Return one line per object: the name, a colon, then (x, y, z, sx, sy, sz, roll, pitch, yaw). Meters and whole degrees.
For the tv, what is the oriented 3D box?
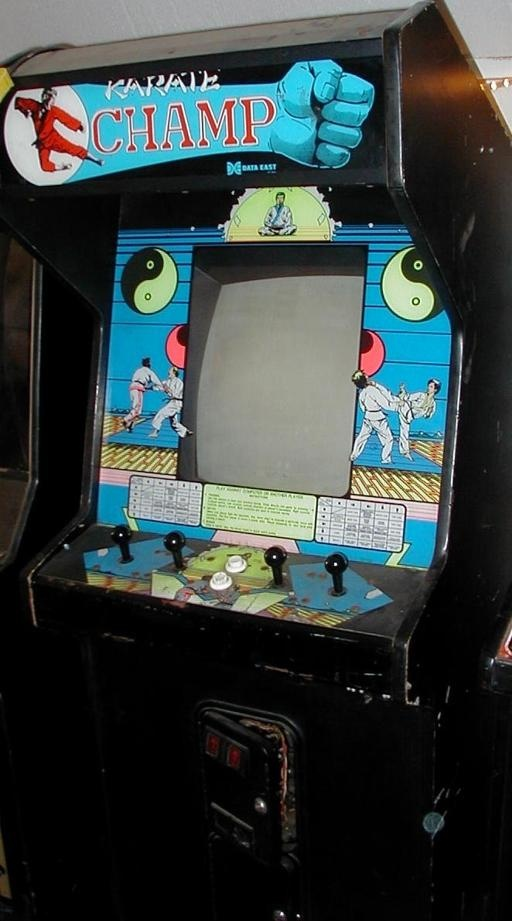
tv: (0.054, -0.125, 1.454, 0.682, 0.647, 0.252, 2, 0, 21)
